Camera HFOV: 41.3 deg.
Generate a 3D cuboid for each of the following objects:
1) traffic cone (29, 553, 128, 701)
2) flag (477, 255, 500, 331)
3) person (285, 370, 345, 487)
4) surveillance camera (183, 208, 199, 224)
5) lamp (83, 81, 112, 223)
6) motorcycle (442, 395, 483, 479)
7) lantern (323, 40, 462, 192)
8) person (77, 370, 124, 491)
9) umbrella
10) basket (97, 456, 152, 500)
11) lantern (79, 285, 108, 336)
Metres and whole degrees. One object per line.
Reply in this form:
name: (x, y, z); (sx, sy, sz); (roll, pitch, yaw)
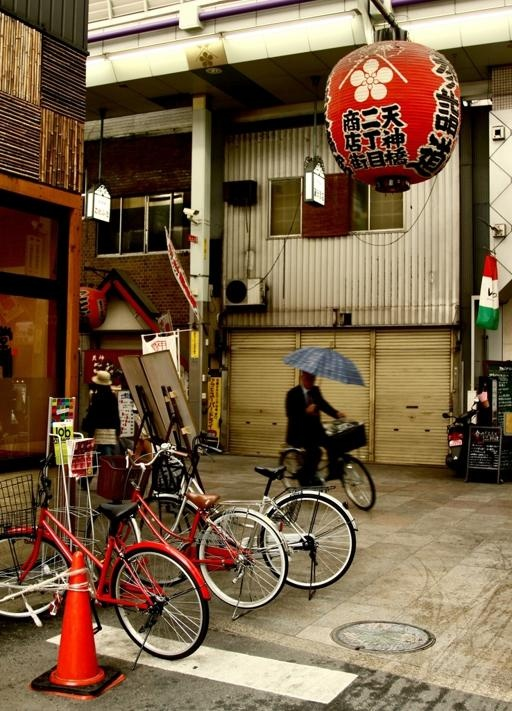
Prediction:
traffic cone: (-0.862, 1.292, 3.305); (0.428, 0.626, 0.339); (1, -4, 6)
flag: (4.132, -1.136, 12.018); (0.246, 1.364, 0.555); (-2, -5, 38)
person: (0.560, 0.781, 7.528); (0.510, 1.163, 0.603); (3, 5, -14)
surveillance camera: (-1.372, -2.974, 14.330); (0.221, 0.304, 0.490); (0, -4, 16)
lamp: (-3.139, -3.870, 13.598); (0.225, 2.317, 0.552); (-1, -4, 29)
motorcycle: (3.449, 1.440, 11.382); (0.512, 1.317, 1.017); (0, -4, 7)
lantern: (1.234, -2.225, 6.148); (1.145, 1.372, 1.160); (-1, 2, 18)
person: (-2.164, 1.092, 9.351); (0.474, 1.511, 0.532); (-2, -9, 6)
umbrella: (0.749, 0.112, 7.303); (0.803, 0.405, 0.723); (-1, -4, 29)
basket: (-0.896, 0.812, 4.567); (0.359, 0.294, 0.450); (-14, -20, 9)
lantern: (-3.666, -1.033, 15.271); (0.581, 0.873, 0.894); (2, -4, -12)
